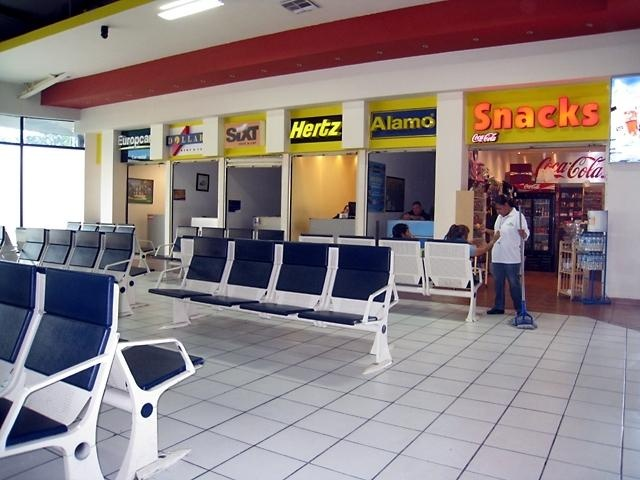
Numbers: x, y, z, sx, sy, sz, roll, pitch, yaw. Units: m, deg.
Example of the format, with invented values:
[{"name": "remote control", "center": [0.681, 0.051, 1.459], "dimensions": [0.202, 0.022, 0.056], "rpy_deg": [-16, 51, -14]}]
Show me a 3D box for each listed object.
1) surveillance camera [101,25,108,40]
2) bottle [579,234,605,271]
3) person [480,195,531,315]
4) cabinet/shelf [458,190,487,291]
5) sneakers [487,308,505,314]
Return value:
[{"name": "surveillance camera", "center": [-3.884, -3.720, 8.069], "dimensions": [0.164, 0.242, 0.170], "rpy_deg": [-1, 7, -32]}, {"name": "bottle", "center": [4.471, 0.183, 7.369], "dimensions": [0.397, 0.600, 0.261], "rpy_deg": [4, 6, 30]}, {"name": "person", "center": [2.718, 0.242, 6.491], "dimensions": [0.479, 1.781, 0.756], "rpy_deg": [3, 5, 20]}, {"name": "cabinet/shelf", "center": [2.928, -0.066, 8.713], "dimensions": [0.452, 1.889, 0.854], "rpy_deg": [1, -3, 6]}, {"name": "sneakers", "center": [2.638, 1.080, 6.789], "dimensions": [0.275, 0.098, 0.089], "rpy_deg": [3, -2, 4]}]
